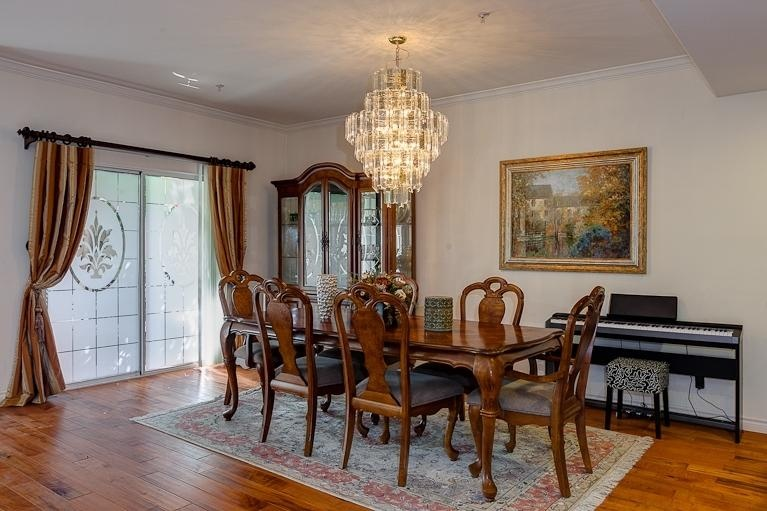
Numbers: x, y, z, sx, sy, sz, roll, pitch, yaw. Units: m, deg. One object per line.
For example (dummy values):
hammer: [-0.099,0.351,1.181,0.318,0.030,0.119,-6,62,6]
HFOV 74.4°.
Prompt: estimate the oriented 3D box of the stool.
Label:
stool: [2.539,1.343,5.123,0.761,0.977,0.693,-2,-6,36]

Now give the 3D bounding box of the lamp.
lamp: [0.142,-1.359,5.209,0.993,1.668,0.631,1,11,3]

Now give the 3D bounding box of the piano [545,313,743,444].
piano: [2.551,1.180,4.825,1.303,0.827,0.344,-2,-6,38]
